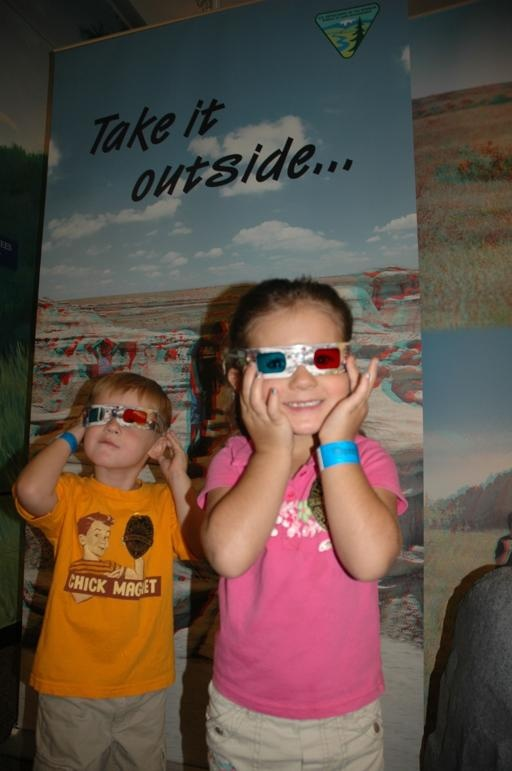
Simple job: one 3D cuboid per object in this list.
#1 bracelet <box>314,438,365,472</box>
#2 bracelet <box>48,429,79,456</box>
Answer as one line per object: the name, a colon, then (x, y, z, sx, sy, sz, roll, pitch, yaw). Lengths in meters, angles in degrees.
bracelet: (0.163, 0.140, 1.111, 0.062, 0.040, 0.063, -8, -19, -1)
bracelet: (-0.595, 0.175, 1.701, 0.067, 0.068, 0.050, 0, 9, 20)
